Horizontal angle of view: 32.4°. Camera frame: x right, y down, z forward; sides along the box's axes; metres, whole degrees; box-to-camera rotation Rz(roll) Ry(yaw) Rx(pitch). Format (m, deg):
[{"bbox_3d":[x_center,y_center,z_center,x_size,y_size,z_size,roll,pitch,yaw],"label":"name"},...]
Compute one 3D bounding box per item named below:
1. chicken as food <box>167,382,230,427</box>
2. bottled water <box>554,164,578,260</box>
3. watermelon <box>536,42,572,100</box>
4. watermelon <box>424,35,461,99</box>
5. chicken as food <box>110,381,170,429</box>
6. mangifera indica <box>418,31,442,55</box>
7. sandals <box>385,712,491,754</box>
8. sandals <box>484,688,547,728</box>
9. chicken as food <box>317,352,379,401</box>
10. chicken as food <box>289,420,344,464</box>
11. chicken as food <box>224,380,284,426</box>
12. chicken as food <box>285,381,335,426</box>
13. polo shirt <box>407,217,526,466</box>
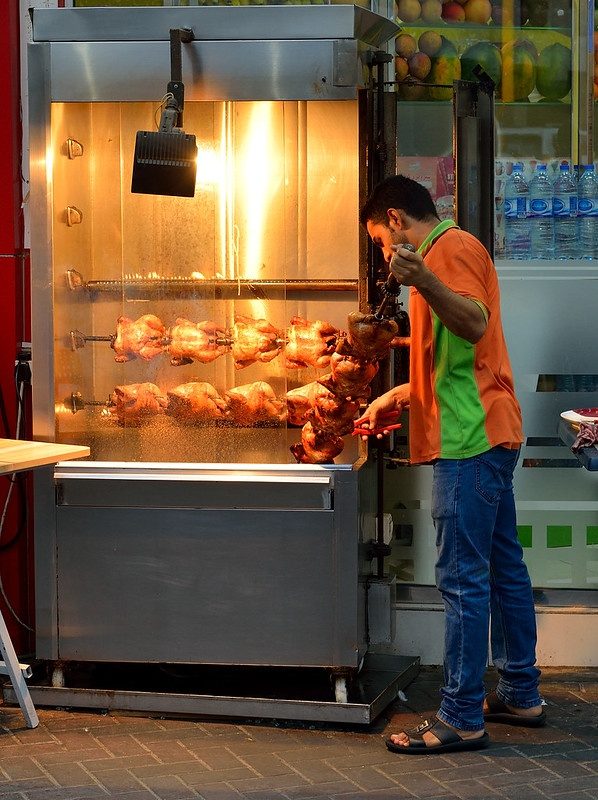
[{"bbox_3d":[-0.373,0.021,3.850,0.187,0.099,0.161,4,7,-25],"label":"chicken as food"},{"bbox_3d":[1.150,-0.833,4.439,0.102,0.363,0.099,-8,9,-35],"label":"bottled water"},{"bbox_3d":[1.114,-1.424,4.461,0.159,0.225,0.141,1,30,20],"label":"watermelon"},{"bbox_3d":[0.611,-1.409,4.434,0.180,0.298,0.224,5,-30,0],"label":"watermelon"},{"bbox_3d":[-0.603,0.020,3.871,0.148,0.108,0.197,-10,-20,21],"label":"chicken as food"},{"bbox_3d":[0.561,-1.527,4.390,0.099,0.111,0.096,1,-9,-8],"label":"mangifera indica"},{"bbox_3d":[0.472,1.139,3.504,0.347,0.121,0.132,2,-12,2],"label":"sandals"},{"bbox_3d":[0.784,1.122,3.713,0.199,0.076,0.097,-7,-8,44],"label":"sandals"},{"bbox_3d":[0.175,-0.080,3.624,0.149,0.081,0.185,-20,-25,37],"label":"chicken as food"},{"bbox_3d":[0.072,0.157,3.840,0.179,0.128,0.129,-2,-6,20],"label":"chicken as food"},{"bbox_3d":[-0.170,0.017,3.836,0.179,0.110,0.181,8,13,42],"label":"chicken as food"},{"bbox_3d":[0.033,0.020,3.810,0.174,0.074,0.129,-35,-47,9],"label":"chicken as food"},{"bbox_3d":[0.546,-0.176,3.377,0.379,0.817,0.441,0,7,8],"label":"polo shirt"}]
